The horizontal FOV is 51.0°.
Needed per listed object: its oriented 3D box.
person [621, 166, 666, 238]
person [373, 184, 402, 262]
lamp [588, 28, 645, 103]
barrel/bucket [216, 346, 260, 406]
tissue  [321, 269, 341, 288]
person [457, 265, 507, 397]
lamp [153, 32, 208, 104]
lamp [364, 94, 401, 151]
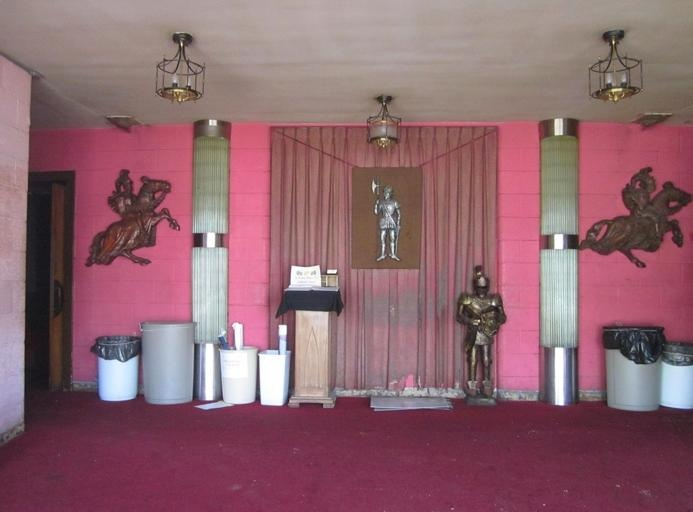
[{"bbox_3d":[3.435,-0.664,8.468,0.446,0.715,0.200,3,11,15],"label":"person"},{"bbox_3d":[0.462,-0.415,8.487,0.341,0.935,0.240,1,11,2],"label":"person"},{"bbox_3d":[2.440,-1.704,6.589,0.443,0.605,0.437,-4,5,3],"label":"lamp"},{"bbox_3d":[-1.196,1.345,8.182,0.427,0.598,0.354,-2,11,-13],"label":"barrel/bucket"},{"bbox_3d":[-0.192,0.269,8.315,0.196,0.165,0.421,0,10,-1],"label":"tissue "},{"bbox_3d":[1.512,0.847,8.267,0.504,1.439,0.569,-3,11,-16],"label":"person"},{"bbox_3d":[-1.520,-1.711,6.642,0.499,0.578,0.501,1,-1,17],"label":"lamp"},{"bbox_3d":[0.429,-1.549,8.338,0.360,0.540,0.366,-6,19,-19],"label":"lamp"}]
